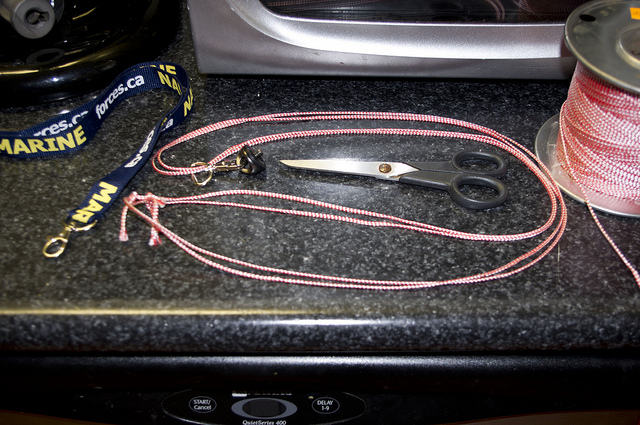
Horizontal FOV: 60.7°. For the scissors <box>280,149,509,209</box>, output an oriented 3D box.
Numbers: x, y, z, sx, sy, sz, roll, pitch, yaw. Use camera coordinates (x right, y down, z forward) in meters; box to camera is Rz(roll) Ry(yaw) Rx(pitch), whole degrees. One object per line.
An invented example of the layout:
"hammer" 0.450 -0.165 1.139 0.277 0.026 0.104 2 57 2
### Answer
"scissors" 0.113 -0.060 0.858 0.331 0.020 0.119 5 40 5
